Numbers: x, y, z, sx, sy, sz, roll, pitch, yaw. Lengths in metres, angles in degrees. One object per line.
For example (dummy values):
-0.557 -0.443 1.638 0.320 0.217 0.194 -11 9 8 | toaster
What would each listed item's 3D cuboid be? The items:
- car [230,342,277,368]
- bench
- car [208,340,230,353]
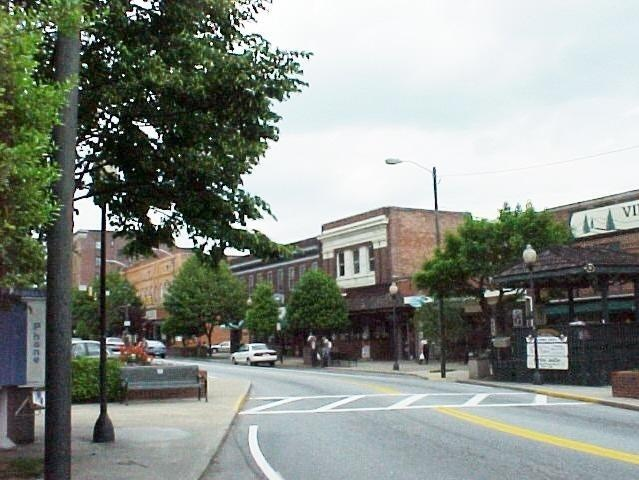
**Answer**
-4.392 7.531 48.102 1.262 1.182 3.305 4 -6 -25 | car
-4.819 4.455 22.445 2.513 1.100 0.803 3 0 -26 | bench
-10.238 11.100 75.717 2.310 0.909 1.135 9 -15 -28 | car
